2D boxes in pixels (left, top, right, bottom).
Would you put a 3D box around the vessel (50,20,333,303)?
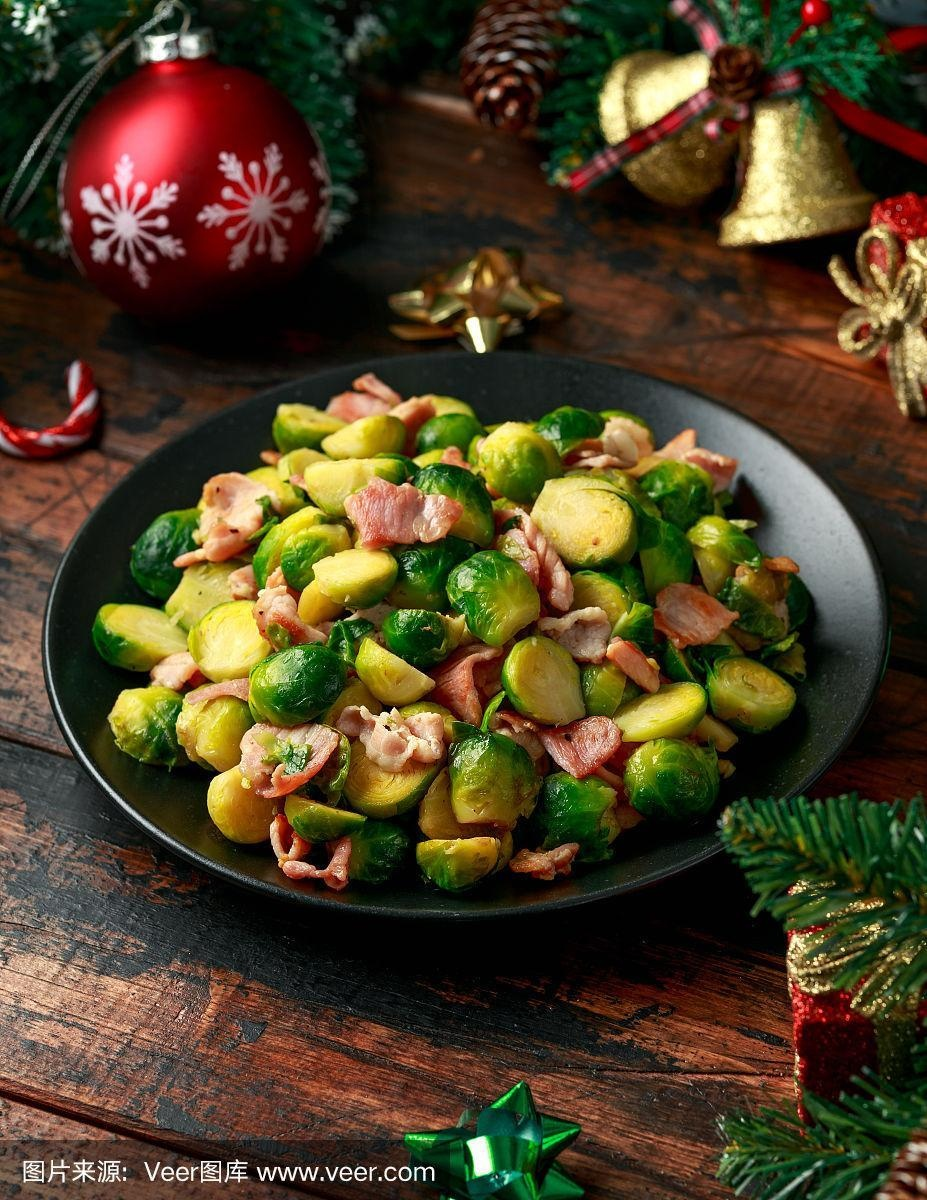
[{"bbox_3d":[-0.367,-0.561,1.710,0.282,0.383,0.328,26,60,12],"label":"vessel"}]
